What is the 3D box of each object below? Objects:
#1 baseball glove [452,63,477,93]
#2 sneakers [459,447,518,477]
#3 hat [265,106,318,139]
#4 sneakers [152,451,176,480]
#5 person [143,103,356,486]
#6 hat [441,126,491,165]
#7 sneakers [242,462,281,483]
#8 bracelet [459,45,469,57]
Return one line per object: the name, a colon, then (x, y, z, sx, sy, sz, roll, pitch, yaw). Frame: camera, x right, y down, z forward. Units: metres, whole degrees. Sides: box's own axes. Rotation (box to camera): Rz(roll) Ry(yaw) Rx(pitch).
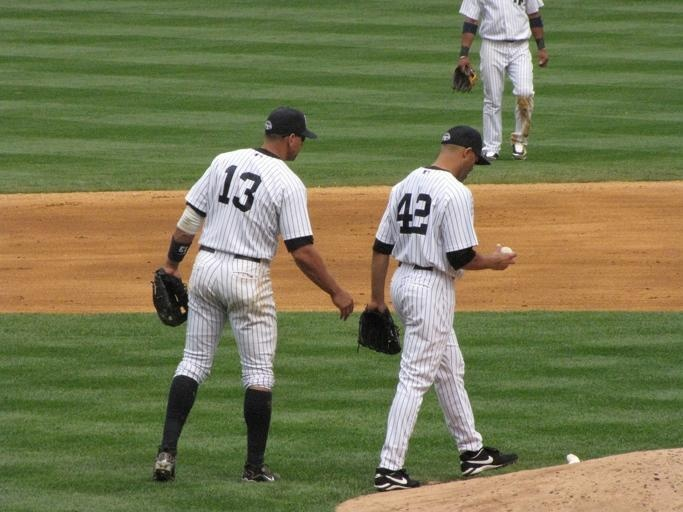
baseball glove: (1.652, -2.380, 21.103, 0.280, 0.382, 0.392, 2, -3, 9)
sneakers: (1.436, 1.978, 15.730, 0.688, 0.245, 0.230, -12, 10, -13)
hat: (-0.500, -1.343, 15.696, 0.470, 0.209, 0.299, -1, 14, -18)
sneakers: (-1.702, 2.028, 15.379, 0.252, 0.289, 0.137, -4, 15, -31)
person: (-0.984, 0.338, 15.520, 1.684, 3.590, 1.114, 2, 13, -7)
hat: (1.324, -1.125, 15.691, 0.521, 0.238, 0.342, 19, 6, -19)
sneakers: (-0.797, 2.125, 15.427, 0.405, 0.150, 0.142, 2, 1, -7)
bracelet: (1.674, -2.759, 21.126, 0.142, 0.186, 0.159, -1, 7, -16)
